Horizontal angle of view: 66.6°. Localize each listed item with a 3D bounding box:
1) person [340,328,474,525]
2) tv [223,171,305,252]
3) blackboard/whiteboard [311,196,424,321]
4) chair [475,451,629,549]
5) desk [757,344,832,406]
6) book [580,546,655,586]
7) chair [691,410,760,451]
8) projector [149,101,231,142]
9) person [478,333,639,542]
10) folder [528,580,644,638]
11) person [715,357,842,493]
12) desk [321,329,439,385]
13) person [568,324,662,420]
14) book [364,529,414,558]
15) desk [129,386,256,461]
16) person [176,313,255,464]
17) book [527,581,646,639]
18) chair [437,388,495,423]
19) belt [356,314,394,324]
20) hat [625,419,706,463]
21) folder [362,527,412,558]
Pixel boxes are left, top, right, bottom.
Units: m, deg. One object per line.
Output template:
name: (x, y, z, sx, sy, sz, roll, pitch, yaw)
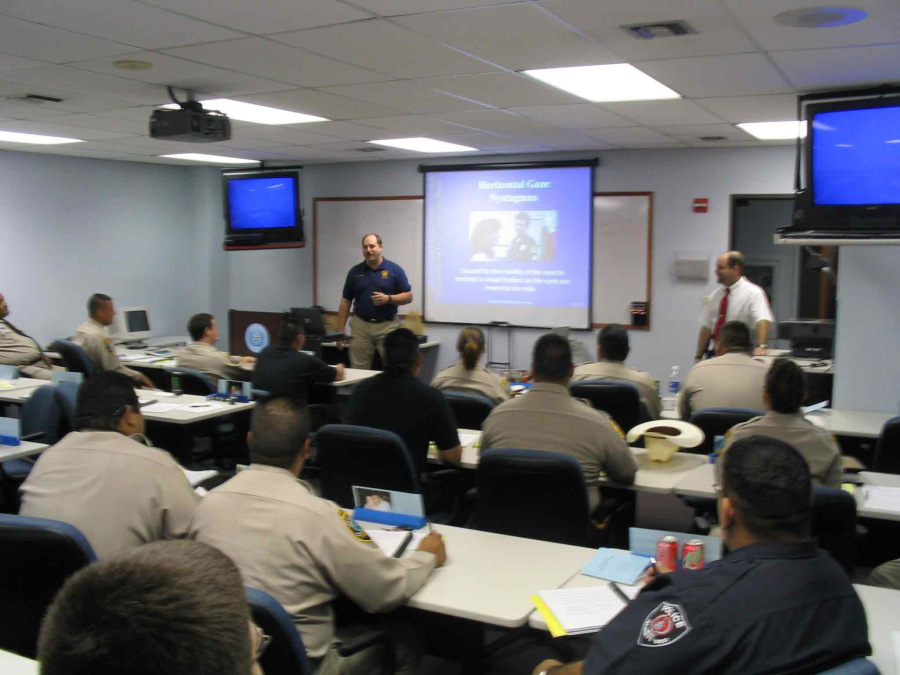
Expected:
person: (-0.266, 0.529, 4.031, 0.726, 1.086, 0.654, 6, 3, 9)
tv: (-1.951, -1.313, 7.687, 1.097, 0.882, 0.834, 0, 3, 13)
blackboard/whiteboard: (-1.013, -1.092, 8.969, 2.151, 1.893, 0.154, 1, 0, 28)
chair: (0.495, 0.758, 3.202, 0.516, 0.580, 0.527, 1, 2, 22)
desk: (2.640, 0.281, 5.086, 0.607, 0.221, 0.799, 2, 5, 34)
book: (0.601, 0.813, 2.433, 0.148, 0.025, 0.162, 3, 14, 35)
chair: (1.543, 0.498, 3.925, 0.305, 0.302, 0.260, 1, 9, 9)
projector: (-1.880, -1.586, 4.960, 0.543, 0.292, 0.323, 0, 5, -1)
person: (0.511, 0.539, 3.414, 0.848, 0.991, 0.689, 0, 3, -5)
folder: (0.439, 0.877, 2.183, 0.339, 0.052, 0.321, 3, 5, 12)
person: (1.433, 0.367, 3.041, 0.585, 0.675, 0.391, 4, 25, 20)
desk: (-0.937, 0.184, 7.904, 1.141, 0.915, 0.771, 0, 0, 7)
person: (1.320, 0.245, 5.299, 0.841, 0.666, 0.411, 3, 19, 14)
book: (-0.224, 0.741, 2.500, 0.115, 0.028, 0.107, 6, 9, 25)
desk: (-1.995, 0.708, 5.425, 0.818, 0.372, 0.630, 8, 13, 31)
person: (-2.209, 0.326, 6.299, 0.601, 1.158, 0.688, 24, 22, 18)
book: (0.405, 0.857, 2.167, 0.305, 0.061, 0.280, -3, 3, -30)
chair: (0.121, 0.455, 4.588, 0.270, 0.310, 0.283, 7, 11, 34)
belt: (-0.834, -0.196, 7.471, 0.405, 0.073, 0.128, 1, 5, 8)
hat: (1.144, 0.531, 3.601, 0.311, 0.097, 0.279, 3, 8, -26)
folder: (-0.210, 0.739, 2.506, 0.125, 0.027, 0.111, 6, 8, 39)
